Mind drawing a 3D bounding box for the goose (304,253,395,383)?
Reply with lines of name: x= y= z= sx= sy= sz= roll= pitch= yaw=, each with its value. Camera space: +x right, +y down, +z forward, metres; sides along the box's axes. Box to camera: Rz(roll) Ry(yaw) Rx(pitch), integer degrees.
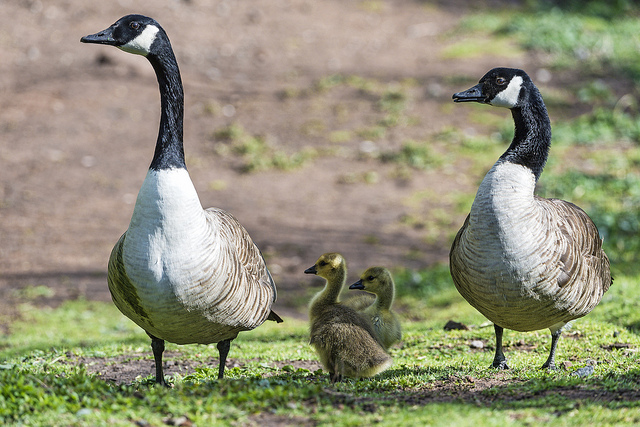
goose: x=0.815 y=2.209 z=19.359 sx=1.711 sy=2.699 sz=2.511 roll=-15 pitch=21 yaw=-42
